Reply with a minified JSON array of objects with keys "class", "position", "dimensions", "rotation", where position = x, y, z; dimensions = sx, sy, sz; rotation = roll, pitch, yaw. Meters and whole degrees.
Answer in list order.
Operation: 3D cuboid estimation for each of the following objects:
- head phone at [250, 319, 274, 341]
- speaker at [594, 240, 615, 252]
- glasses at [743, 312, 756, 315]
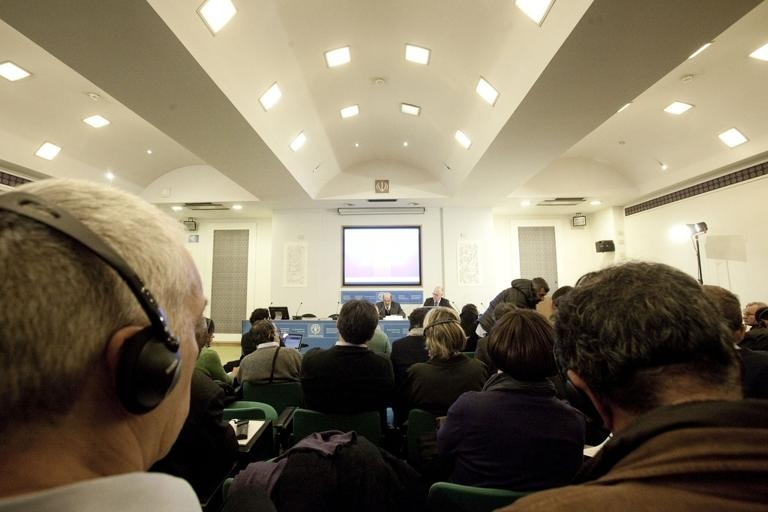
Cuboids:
[{"class":"head phone","position":[-1.130,0.702,4.441],"dimensions":[0.175,0.210,0.212],"rotation":[-1,1,-4]},{"class":"speaker","position":[4.620,-0.187,9.834],"dimensions":[0.218,0.235,0.329],"rotation":[1,-6,0]},{"class":"glasses","position":[3.645,0.576,4.716],"dimensions":[0.052,0.021,0.085],"rotation":[4,-5,1]}]
